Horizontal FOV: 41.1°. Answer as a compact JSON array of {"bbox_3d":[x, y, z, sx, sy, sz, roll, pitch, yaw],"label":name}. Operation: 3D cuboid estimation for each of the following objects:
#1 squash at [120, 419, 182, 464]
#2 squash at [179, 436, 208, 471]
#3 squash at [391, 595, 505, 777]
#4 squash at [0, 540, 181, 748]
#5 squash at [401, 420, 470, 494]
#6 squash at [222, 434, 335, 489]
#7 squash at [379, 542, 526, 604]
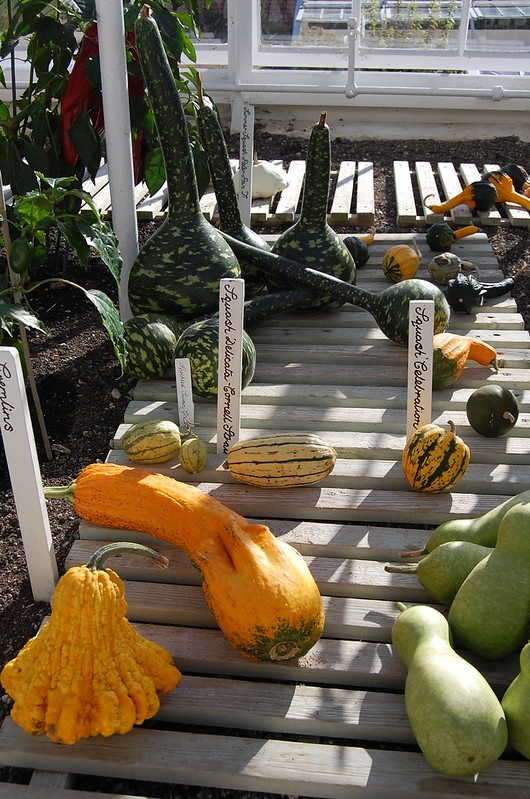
[{"bbox_3d":[-0.323,0.102,1.998,0.156,0.110,0.108,-7,22,-9],"label":"squash"},{"bbox_3d":[-0.200,0.153,1.939,0.061,0.062,0.093,2,46,-18],"label":"squash"},{"bbox_3d":[0.297,0.499,1.274,0.127,0.123,0.296,32,21,-16],"label":"squash"},{"bbox_3d":[-0.316,0.444,1.266,0.320,0.348,0.163,-1,22,-8],"label":"squash"},{"bbox_3d":[0.440,0.143,1.822,0.157,0.216,0.075,12,24,23],"label":"squash"},{"bbox_3d":[0.044,0.158,1.840,0.289,0.139,0.126,0,-9,3],"label":"squash"},{"bbox_3d":[0.400,0.365,1.479,0.080,0.076,0.186,18,-16,-38],"label":"squash"}]
